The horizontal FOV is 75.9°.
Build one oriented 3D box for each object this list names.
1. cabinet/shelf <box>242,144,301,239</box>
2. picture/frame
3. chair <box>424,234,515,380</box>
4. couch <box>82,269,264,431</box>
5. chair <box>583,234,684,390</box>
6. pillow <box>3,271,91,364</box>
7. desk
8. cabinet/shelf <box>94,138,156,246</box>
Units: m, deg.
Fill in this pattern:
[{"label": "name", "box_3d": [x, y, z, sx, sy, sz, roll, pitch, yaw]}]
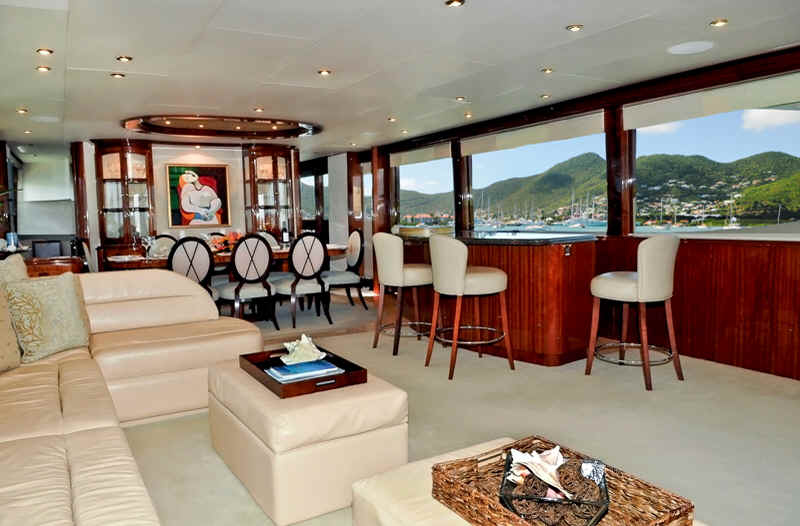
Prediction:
[{"label": "cabinet/shelf", "box_3d": [-2.294, -1.267, 9.185, 0.995, 1.630, 0.471, -4, 13, -11]}, {"label": "picture/frame", "box_3d": [-3.562, -1.175, 8.954, 1.205, 1.258, 0.094, -4, 9, -27]}, {"label": "chair", "box_3d": [0.692, 0.409, 5.190, 0.888, 1.400, 0.906, -1, 13, 2]}, {"label": "couch", "box_3d": [-2.017, 0.637, 4.395, 1.443, 0.833, 1.310, -3, 6, -36]}, {"label": "chair", "box_3d": [2.305, 0.406, 5.004, 0.901, 1.428, 1.180, 5, 14, 25]}, {"label": "pillow", "box_3d": [-2.709, 0.428, 3.956, 0.188, 0.567, 0.610, -19, -2, 26]}, {"label": "desk", "box_3d": [1.405, 0.431, 6.231, 0.988, 1.316, 2.405, 3, -1, -24]}, {"label": "cabinet/shelf", "box_3d": [-4.456, -1.143, 8.352, 0.866, 1.675, 0.358, -5, 13, -16]}]
